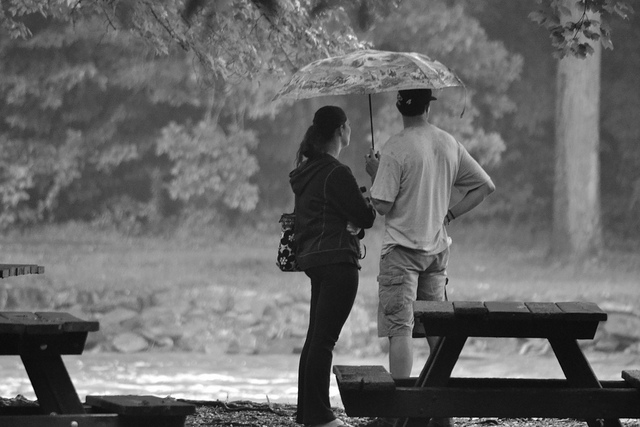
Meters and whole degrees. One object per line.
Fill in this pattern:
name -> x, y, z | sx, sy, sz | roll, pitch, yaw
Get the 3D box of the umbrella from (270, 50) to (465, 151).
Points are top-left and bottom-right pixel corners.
umbrella -> 0.515, -1.181, 20.090 | 1.535, 0.824, 1.492 | -9, 3, -22

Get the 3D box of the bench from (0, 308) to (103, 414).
bench -> -2.992, 1.621, 19.354 | 1.174, 1.128, 1.173 | -4, 1, -28

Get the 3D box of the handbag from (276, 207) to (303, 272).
handbag -> -0.318, 0.276, 19.831 | 0.272, 0.728, 0.555 | 1, 1, -20

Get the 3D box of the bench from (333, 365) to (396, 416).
bench -> 0.552, 1.965, 19.108 | 0.686, 0.422, 0.938 | 1, 8, 1

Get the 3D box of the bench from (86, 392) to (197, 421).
bench -> -1.946, 2.145, 18.893 | 1.215, 0.159, 0.476 | 1, 1, 0

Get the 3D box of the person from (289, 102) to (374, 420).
person -> 0.122, 0.531, 19.536 | 0.870, 3.665, 0.431 | 1, 1, -1
